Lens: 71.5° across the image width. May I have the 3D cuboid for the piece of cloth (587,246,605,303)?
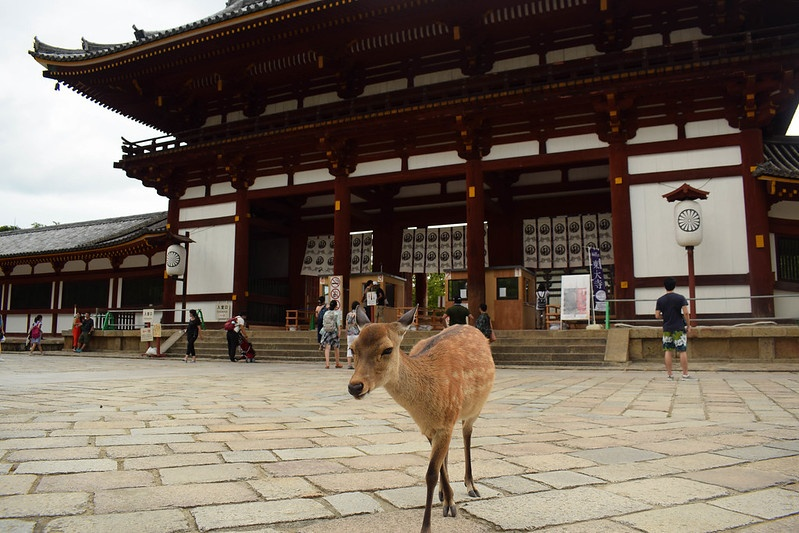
[{"bbox_3d":[5.238,0.302,14.660,0.335,1.705,0.660,-3,-7,17],"label":"piece of cloth"}]

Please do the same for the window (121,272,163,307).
[{"bbox_3d":[-10.243,0.940,22.176,1.302,0.938,0.128,-6,-15,22],"label":"window"}]

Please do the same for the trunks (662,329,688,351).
[{"bbox_3d":[5.276,1.396,10.605,0.504,0.475,0.301,-13,-30,42],"label":"trunks"}]
